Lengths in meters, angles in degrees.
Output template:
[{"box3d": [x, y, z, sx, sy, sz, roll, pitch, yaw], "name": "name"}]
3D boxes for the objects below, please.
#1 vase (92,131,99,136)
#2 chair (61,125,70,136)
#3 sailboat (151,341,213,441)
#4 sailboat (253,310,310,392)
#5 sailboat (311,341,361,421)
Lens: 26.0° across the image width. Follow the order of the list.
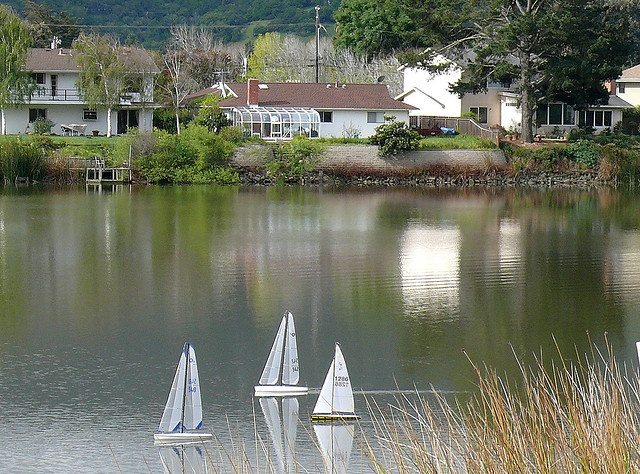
[{"box3d": [-17.212, -7.954, 105.372, 0.322, 0.338, 0.375, 0, -2, -8], "name": "vase"}, {"box3d": [-19.424, -8.109, 105.036, 0.706, 1.018, 0.687, -2, 0, 28], "name": "chair"}, {"box3d": [-5.047, 5.759, 50.681, 1.748, 3.679, 0.492, 0, 6, -7], "name": "sailboat"}, {"box3d": [-1.476, 4.384, 52.519, 1.773, 3.335, 1.217, 0, 6, 1], "name": "sailboat"}, {"box3d": [0.552, 5.432, 51.532, 1.597, 3.051, 0.741, 0, 6, -1], "name": "sailboat"}]
